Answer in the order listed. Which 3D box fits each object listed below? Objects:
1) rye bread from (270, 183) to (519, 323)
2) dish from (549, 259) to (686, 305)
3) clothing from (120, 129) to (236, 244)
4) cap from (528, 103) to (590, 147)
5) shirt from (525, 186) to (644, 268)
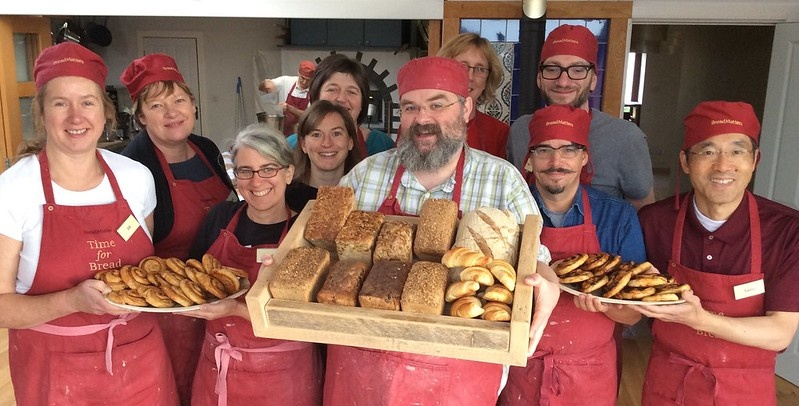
[{"bbox_3d":[0.010,0.293,2.946,1.181,0.332,0.665,6,36,9],"label":"rye bread"},{"bbox_3d":[1.392,0.539,3.382,0.817,0.336,0.383,2,17,14],"label":"dish"},{"bbox_3d":[-1.650,-0.100,3.919,0.524,0.853,0.679,-6,16,15],"label":"clothing"},{"bbox_3d":[1.117,-0.544,3.743,0.397,0.272,0.279,1,-1,12],"label":"cap"},{"bbox_3d":[1.381,0.223,3.892,1.041,0.665,0.513,0,4,25],"label":"shirt"}]
